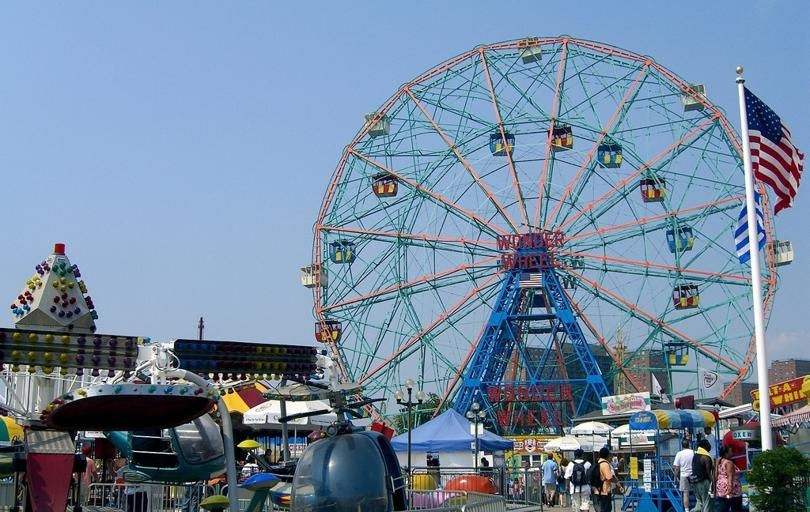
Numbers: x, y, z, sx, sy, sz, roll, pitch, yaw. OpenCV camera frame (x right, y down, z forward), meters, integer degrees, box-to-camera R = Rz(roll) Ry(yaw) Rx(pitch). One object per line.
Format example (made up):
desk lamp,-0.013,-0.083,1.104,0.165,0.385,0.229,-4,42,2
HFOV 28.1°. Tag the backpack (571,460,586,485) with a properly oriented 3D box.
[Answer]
backpack,5.681,7.093,53.287,0.523,0.768,0.274,-8,-17,10

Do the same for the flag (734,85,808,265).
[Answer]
flag,11.799,-2.543,53.392,2.529,6.576,1.730,-1,2,-21

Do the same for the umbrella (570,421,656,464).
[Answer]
umbrella,7.871,6.984,61.246,3.003,0.897,2.561,-1,-10,3
